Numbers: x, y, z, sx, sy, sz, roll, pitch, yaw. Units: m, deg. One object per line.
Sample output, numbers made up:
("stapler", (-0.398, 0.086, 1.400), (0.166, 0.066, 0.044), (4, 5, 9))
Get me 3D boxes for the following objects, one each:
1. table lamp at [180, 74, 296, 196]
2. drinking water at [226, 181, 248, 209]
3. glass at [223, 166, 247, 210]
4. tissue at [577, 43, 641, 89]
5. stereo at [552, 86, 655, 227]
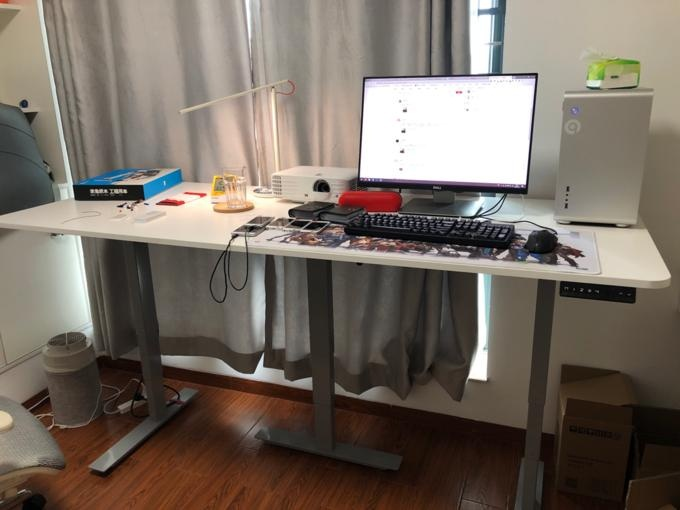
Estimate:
("table lamp", (-0.467, -0.548, 2.478), (0.494, 0.490, 0.313), (7, 24, 26))
("drinking water", (-0.437, -0.259, 2.233), (0.114, 0.128, 0.116), (2, 10, 14))
("glass", (-0.449, -0.306, 2.271), (0.103, 0.157, 0.102), (-1, 9, 26))
("tissue", (0.969, -0.669, 1.896), (0.191, 0.133, 0.116), (-7, 20, -7))
("stereo", (0.969, -0.339, 1.944), (0.325, 0.469, 0.327), (-3, 11, -34))
